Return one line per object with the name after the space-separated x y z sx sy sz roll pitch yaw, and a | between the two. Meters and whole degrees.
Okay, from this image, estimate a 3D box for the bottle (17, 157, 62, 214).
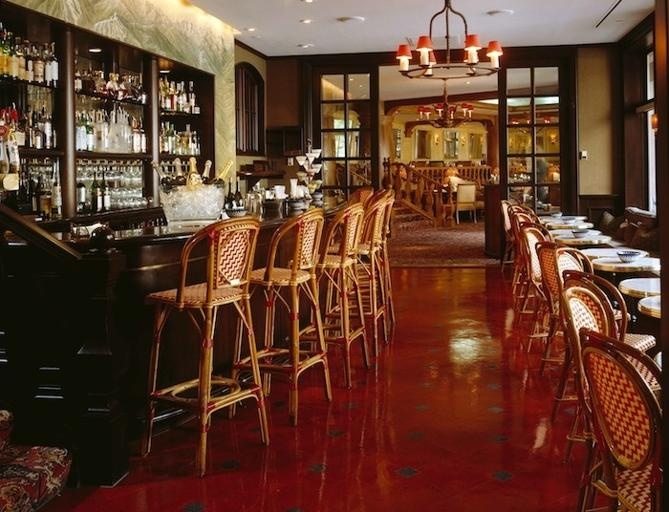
-2.678 -0.637 4.907 0.239 0.533 0.344 6 12 43 | bottle

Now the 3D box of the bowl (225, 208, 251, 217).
-0.760 -0.345 4.186 0.158 0.056 0.160 -1 2 0 | bowl

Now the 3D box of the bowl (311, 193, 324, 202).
-0.178 -0.609 5.433 0.152 0.115 0.153 1 3 0 | bowl

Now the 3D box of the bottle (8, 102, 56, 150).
-2.689 -1.158 4.749 0.221 0.392 0.601 -1 10 7 | bottle

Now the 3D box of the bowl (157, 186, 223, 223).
-1.100 -0.428 4.213 0.539 0.280 0.573 -1 6 0 | bowl
